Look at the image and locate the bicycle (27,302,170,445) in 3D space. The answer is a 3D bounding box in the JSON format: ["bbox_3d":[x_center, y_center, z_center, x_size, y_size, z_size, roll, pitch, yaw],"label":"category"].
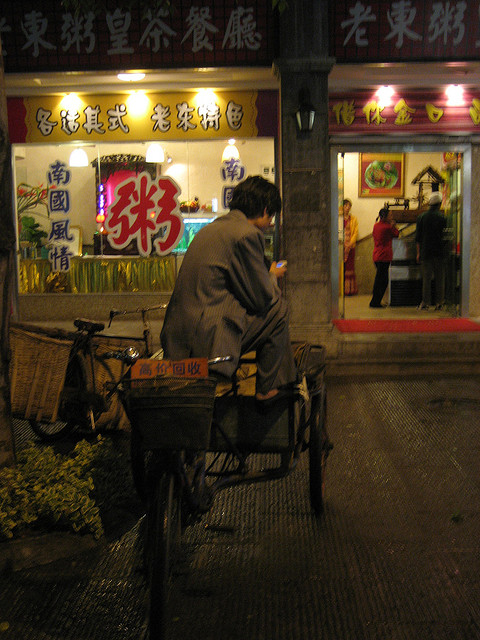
[{"bbox_3d":[-0.918,0.346,3.991,0.564,1.050,1.259,15,4,38],"label":"bicycle"}]

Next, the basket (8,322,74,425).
[{"bbox_3d":[-1.368,0.379,3.749,0.438,0.688,0.153,1,3,7],"label":"basket"}]

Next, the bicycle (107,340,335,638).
[{"bbox_3d":[-0.025,0.540,2.308,0.561,0.784,1.253,0,-7,10],"label":"bicycle"}]

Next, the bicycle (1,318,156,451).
[{"bbox_3d":[-1.061,0.434,3.491,0.433,0.499,0.793,23,-10,12],"label":"bicycle"}]

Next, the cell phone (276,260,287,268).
[{"bbox_3d":[0.223,-0.310,2.966,0.030,0.022,0.071,3,19,11],"label":"cell phone"}]

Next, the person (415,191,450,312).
[{"bbox_3d":[3.849,-1.392,10.992,0.622,2.398,0.879,1,3,22],"label":"person"}]
